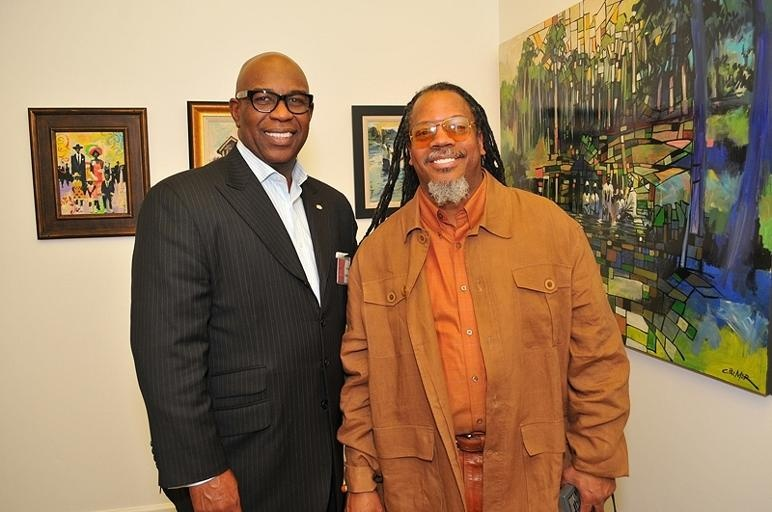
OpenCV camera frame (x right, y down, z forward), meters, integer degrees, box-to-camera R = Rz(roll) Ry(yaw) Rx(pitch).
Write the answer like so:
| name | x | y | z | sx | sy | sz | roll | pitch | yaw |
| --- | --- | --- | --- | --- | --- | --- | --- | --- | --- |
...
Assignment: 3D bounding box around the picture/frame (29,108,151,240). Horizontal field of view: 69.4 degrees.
| name | x | y | z | sx | sy | sz | roll | pitch | yaw |
| --- | --- | --- | --- | --- | --- | --- | --- | --- | --- |
| picture/frame | -2.073 | -0.589 | 3.826 | 0.874 | 1.155 | 0.076 | -1 | 4 | -14 |
